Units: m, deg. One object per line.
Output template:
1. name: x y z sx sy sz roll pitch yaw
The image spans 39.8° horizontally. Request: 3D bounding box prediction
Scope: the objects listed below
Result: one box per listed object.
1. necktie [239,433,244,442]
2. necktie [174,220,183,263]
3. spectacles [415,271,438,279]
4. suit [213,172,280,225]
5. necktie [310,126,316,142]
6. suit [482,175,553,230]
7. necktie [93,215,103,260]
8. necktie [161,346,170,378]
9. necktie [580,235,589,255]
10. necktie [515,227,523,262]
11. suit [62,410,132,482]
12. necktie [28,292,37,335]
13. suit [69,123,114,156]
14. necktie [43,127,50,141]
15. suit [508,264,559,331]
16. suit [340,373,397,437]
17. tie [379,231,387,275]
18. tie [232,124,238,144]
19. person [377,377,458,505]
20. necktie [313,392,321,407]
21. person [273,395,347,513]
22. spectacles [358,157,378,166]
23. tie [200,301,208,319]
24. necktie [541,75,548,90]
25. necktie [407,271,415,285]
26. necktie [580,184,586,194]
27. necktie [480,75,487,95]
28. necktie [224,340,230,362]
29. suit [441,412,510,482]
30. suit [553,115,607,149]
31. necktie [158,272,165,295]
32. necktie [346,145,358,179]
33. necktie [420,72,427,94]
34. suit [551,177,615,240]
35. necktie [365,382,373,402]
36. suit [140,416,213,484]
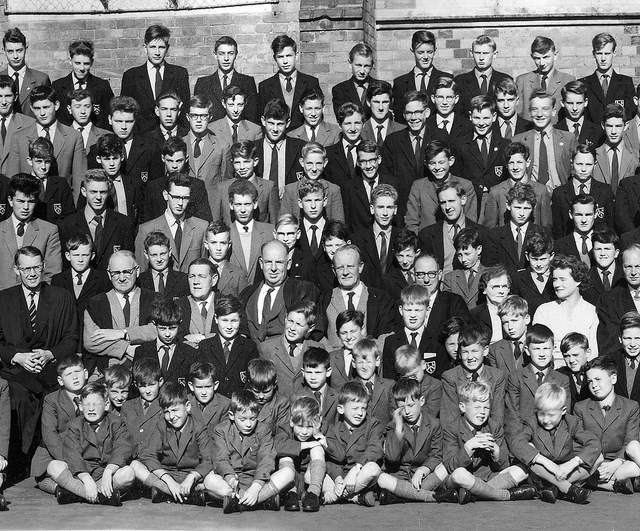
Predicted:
1. necktie: -0.649 1.400 7.258 0.040 0.059 0.020 -13 -11 -36
2. necktie: -1.493 -0.287 9.344 0.083 0.384 0.075 1 6 6
3. spectacles: 1.039 0.089 8.663 0.201 0.080 0.062 2 7 8
4. suit: -0.818 -0.709 9.716 0.571 0.578 0.193 0 12 -7
5. necktie: -0.092 -1.580 10.666 0.044 0.185 0.023 -1 -13 21
6. suit: 2.146 -0.666 9.648 0.572 0.594 0.223 1 4 2
7. necktie: -2.369 -0.308 9.455 0.087 0.456 0.156 -1 7 -14
8. necktie: -1.416 0.871 8.081 0.068 0.239 0.023 1 -15 2
9. necktie: 2.783 -0.218 9.311 0.067 0.190 0.096 2 7 15
10. necktie: 2.095 -0.251 9.346 0.079 0.311 0.077 2 7 14
11. suit: -1.857 1.544 7.413 0.516 0.687 0.441 0 -20 -9
12. necktie: -2.749 0.440 8.459 0.055 0.354 0.045 0 -9 -2
13. suit: -2.689 -1.499 10.511 0.497 0.355 0.323 0 16 -5
14. necktie: -3.136 -1.501 10.144 0.055 0.238 0.021 -1 -31 -13
15. suit: 2.106 0.262 8.816 0.435 0.518 0.529 -1 7 -17
16. suit: 0.485 1.114 7.794 0.633 0.750 0.387 -2 -2 -3
17. tie: 0.670 -0.144 9.444 0.075 0.428 0.093 0 6 -5
18. tie: -1.015 -1.570 10.502 0.048 0.291 0.032 3 -19 -2
19. person: 0.740 1.450 7.319 0.599 0.940 0.792 -2 5 -3
20. necktie: -0.030 1.129 7.592 0.065 0.080 0.105 1 7 1
21. person: -0.101 1.530 7.319 0.580 0.936 1.106 1 -13 -5
22. spectacles: 0.534 -1.157 9.894 0.181 0.086 0.054 1 6 2
23. tie: -1.132 0.418 8.526 0.069 0.127 0.034 4 -11 1
24. necktie: 2.854 -2.318 11.278 0.057 0.289 0.034 4 -20 5
25. necktie: 0.911 0.127 9.026 0.071 0.122 0.036 -4 -21 9
26. necktie: 2.892 -0.837 9.732 0.084 0.108 0.026 2 -7 13
27. necktie: 2.058 -2.265 11.150 0.075 0.252 0.027 2 -13 15
28. necktie: -0.848 0.778 8.026 0.053 0.162 0.012 0 -24 2
29. suit: 1.314 1.533 7.419 0.497 0.617 0.516 -3 -1 8
30. suit: 3.081 -1.688 10.699 0.586 0.199 0.330 13 2 39
31. necktie: -1.602 0.176 8.927 0.059 0.208 0.019 0 -19 4
32. necktie: 0.366 -1.192 10.300 0.122 0.416 0.039 0 -7 -4
33. necktie: 1.308 -2.315 11.226 0.085 0.258 0.134 1 6 5
34. suit: 2.839 -0.600 9.599 0.638 0.964 0.258 0 -4 -6
35. necktie: 0.424 1.086 7.658 0.034 0.173 0.044 -3 -15 -8
36. suit: -1.164 1.526 7.324 0.594 0.656 0.429 7 24 3
